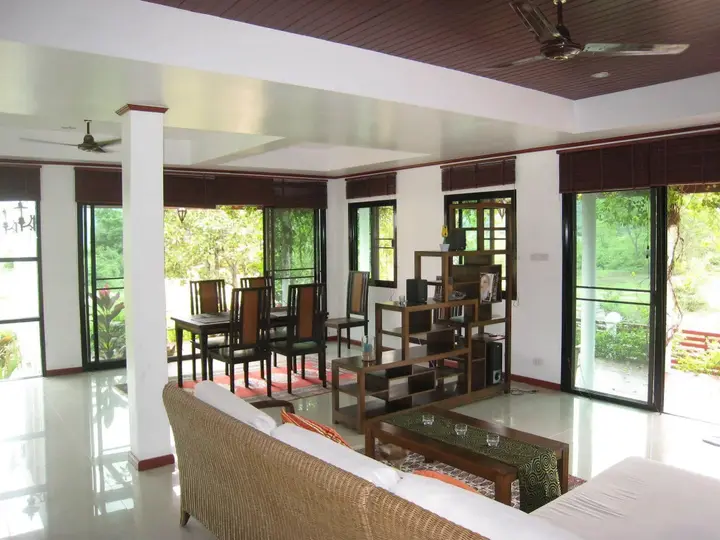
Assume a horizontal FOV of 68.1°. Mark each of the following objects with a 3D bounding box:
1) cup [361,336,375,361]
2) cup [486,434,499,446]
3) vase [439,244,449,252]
[{"bbox_3d":[0.089,0.828,5.684,0.119,0.256,0.197,0,7,6],"label":"cup"},{"bbox_3d":[1.002,1.287,4.014,0.094,0.059,0.122,1,7,14],"label":"cup"},{"bbox_3d":[0.969,-0.249,6.154,0.090,0.062,0.088,-2,1,15],"label":"vase"}]
